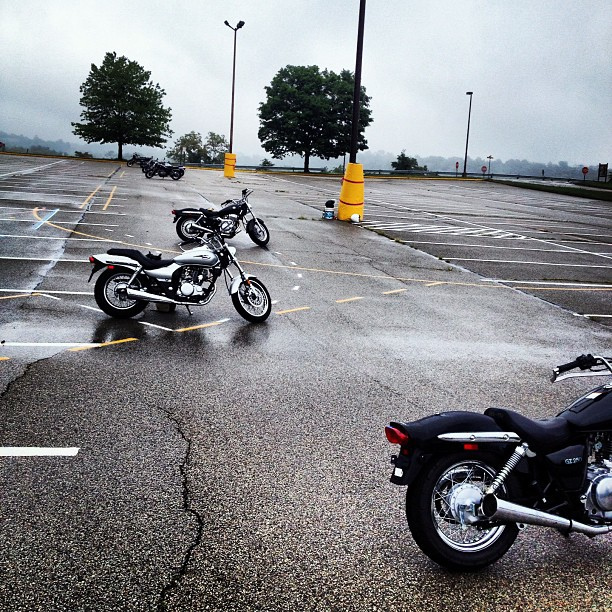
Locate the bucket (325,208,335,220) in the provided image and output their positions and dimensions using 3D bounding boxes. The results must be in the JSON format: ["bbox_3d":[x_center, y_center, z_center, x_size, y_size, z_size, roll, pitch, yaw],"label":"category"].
[{"bbox_3d":[1.006,-3.805,21.791,0.342,0.470,0.382,4,12,-5],"label":"bucket"}]

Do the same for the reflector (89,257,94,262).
[{"bbox_3d":[-3.347,-0.717,8.188,0.058,0.072,0.133,2,12,-16],"label":"reflector"}]

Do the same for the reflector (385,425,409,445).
[{"bbox_3d":[0.525,0.738,3.006,0.141,0.094,0.048,-6,-4,9],"label":"reflector"}]

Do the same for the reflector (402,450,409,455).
[{"bbox_3d":[0.578,0.846,3.027,0.044,0.036,0.010,0,-2,22],"label":"reflector"}]

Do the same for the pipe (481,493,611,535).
[{"bbox_3d":[1.480,1.268,3.227,0.952,0.138,0.142,11,35,-17],"label":"pipe"}]

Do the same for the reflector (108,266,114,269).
[{"bbox_3d":[-3.091,-0.602,8.305,0.080,0.045,0.043,0,13,-20],"label":"reflector"}]

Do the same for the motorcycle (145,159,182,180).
[{"bbox_3d":[-10.537,-9.900,38.505,2.623,1.291,1.321,6,21,-11],"label":"motorcycle"}]

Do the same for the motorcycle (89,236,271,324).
[{"bbox_3d":[-2.108,-0.455,8.820,2.723,1.210,1.010,3,13,-8],"label":"motorcycle"}]
